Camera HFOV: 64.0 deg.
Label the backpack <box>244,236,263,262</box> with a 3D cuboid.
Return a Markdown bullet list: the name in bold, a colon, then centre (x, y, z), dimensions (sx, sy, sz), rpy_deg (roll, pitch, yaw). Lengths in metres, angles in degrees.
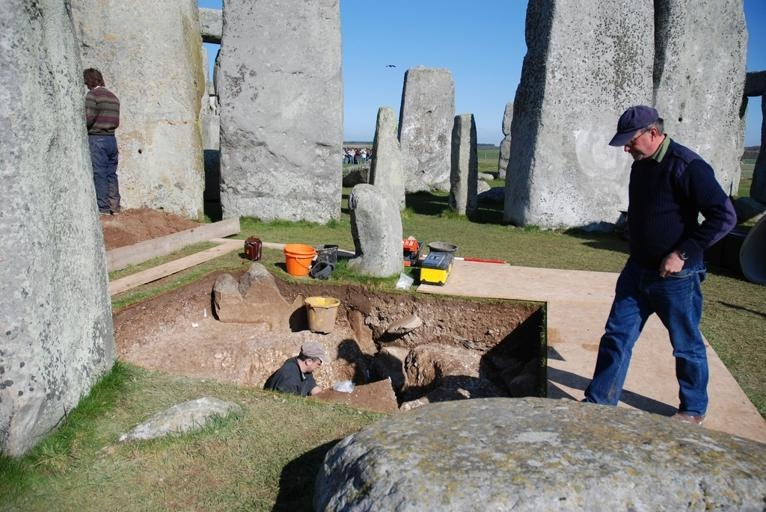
- **backpack**: centre (-1.564, -0.088, 7.564), dimensions (0.236, 0.359, 0.257), rpy_deg (2, 11, 17)

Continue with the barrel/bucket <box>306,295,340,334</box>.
- **barrel/bucket**: centre (-0.684, 0.647, 6.905), dimensions (0.374, 0.331, 0.383), rpy_deg (0, 2, 0)

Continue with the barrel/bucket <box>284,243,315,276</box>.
- **barrel/bucket**: centre (-0.978, 0.048, 7.349), dimensions (0.340, 0.283, 0.360), rpy_deg (2, 5, 0)

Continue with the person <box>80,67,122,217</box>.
- **person**: centre (-3.559, -1.462, 7.844), dimensions (0.371, 1.809, 0.629), rpy_deg (-3, 14, -26)

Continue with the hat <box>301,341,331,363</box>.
- **hat**: centre (-0.672, 0.961, 6.203), dimensions (0.258, 0.154, 0.181), rpy_deg (8, 11, -29)

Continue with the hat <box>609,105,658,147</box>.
- **hat**: centre (1.796, -0.923, 4.360), dimensions (0.295, 0.289, 0.216), rpy_deg (10, 15, 23)

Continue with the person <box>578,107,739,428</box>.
- **person**: centre (2.003, 0.104, 4.435), dimensions (0.909, 2.278, 0.482), rpy_deg (7, 13, 15)

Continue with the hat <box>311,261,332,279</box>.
- **hat**: centre (-0.723, 0.174, 7.150), dimensions (0.220, 0.233, 0.161), rpy_deg (-15, 34, -22)

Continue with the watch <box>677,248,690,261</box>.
- **watch**: centre (2.081, -0.012, 4.258), dimensions (0.045, 0.082, 0.074), rpy_deg (7, -4, 21)
